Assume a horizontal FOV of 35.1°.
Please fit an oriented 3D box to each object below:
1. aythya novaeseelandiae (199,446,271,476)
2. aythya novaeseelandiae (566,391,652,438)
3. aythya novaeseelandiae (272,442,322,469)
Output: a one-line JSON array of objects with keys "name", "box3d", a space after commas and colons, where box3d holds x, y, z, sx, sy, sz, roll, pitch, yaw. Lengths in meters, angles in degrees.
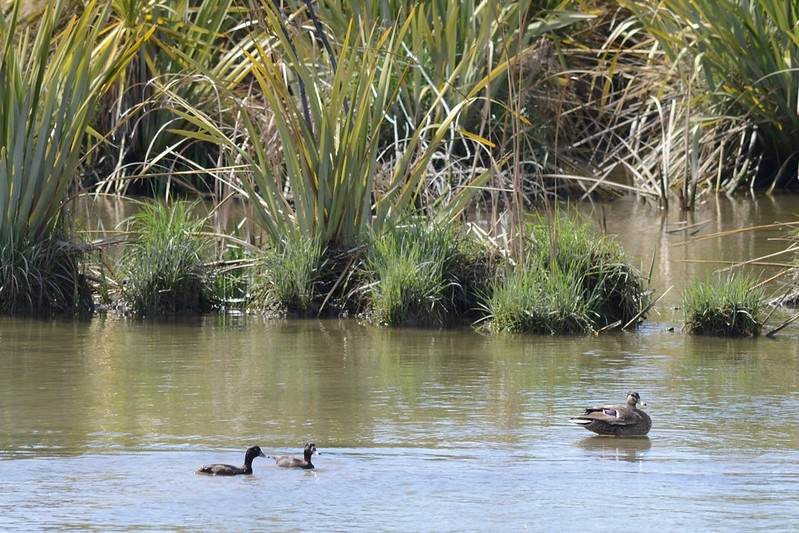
[{"name": "aythya novaeseelandiae", "box3d": [-1.087, 1.311, 8.368, 0.471, 0.329, 0.182, 0, 9, -8]}, {"name": "aythya novaeseelandiae", "box3d": [1.534, 1.068, 9.161, 0.508, 0.398, 0.285, 2, -3, -6]}, {"name": "aythya novaeseelandiae", "box3d": [-0.688, 1.289, 8.607, 0.356, 0.288, 0.126, -2, -2, 20]}]
